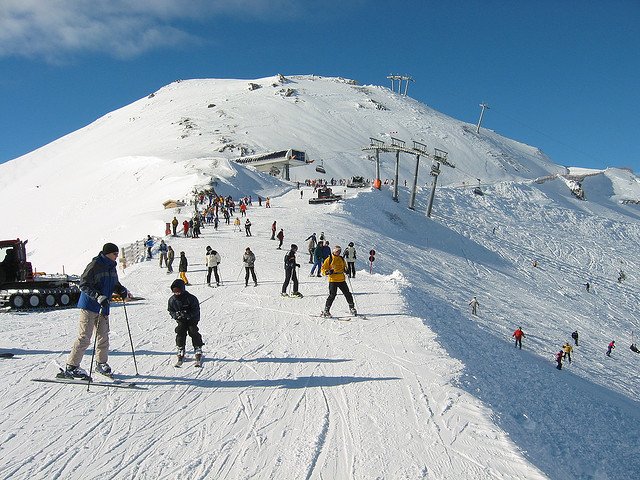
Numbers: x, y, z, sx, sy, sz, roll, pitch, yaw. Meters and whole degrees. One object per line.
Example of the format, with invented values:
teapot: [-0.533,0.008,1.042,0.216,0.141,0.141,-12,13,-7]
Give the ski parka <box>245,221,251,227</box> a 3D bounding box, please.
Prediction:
ski parka: [-4.860,-1.034,32.697,0.551,0.231,0.648,1,-3,-9]

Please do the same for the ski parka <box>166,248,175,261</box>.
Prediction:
ski parka: [-7.489,0.756,24.404,0.314,0.515,0.722,-2,5,-20]

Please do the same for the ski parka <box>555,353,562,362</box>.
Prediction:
ski parka: [10.345,5.104,21.271,0.218,0.440,0.469,3,6,23]

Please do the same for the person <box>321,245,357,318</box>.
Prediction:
person: [0.580,1.322,15.775,1.112,2.344,1.261,1,6,9]

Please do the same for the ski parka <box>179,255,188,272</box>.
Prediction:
ski parka: [-5.879,1.028,20.899,0.298,0.742,0.774,-2,6,-20]

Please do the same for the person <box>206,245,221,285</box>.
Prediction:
person: [-4.567,1.082,20.792,0.485,1.648,0.917,-1,6,-12]

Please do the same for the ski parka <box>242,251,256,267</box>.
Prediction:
ski parka: [-2.949,0.825,20.132,0.760,0.811,0.541,0,-10,-8]

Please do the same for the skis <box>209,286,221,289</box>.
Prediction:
skis: [-4.497,1.986,20.628,0.425,0.035,0.181,1,5,10]

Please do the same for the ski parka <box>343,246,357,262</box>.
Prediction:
ski parka: [1.258,0.643,21.206,0.774,0.732,0.425,9,25,27]

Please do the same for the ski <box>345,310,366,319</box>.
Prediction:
ski: [1.121,2.441,15.910,0.448,0.078,0.080,28,4,15]

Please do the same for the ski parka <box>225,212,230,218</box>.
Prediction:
ski parka: [-7.193,-1.861,37.443,0.296,0.413,0.257,5,9,21]

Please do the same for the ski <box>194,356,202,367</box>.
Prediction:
ski: [-3.113,3.101,12.392,0.173,0.201,0.141,0,5,-1]

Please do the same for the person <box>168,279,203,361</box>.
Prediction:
person: [-3.363,1.992,12.137,0.743,2.161,0.725,0,6,0]

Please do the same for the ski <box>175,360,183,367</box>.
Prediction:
ski: [-3.566,3.119,12.321,0.118,0.035,0.117,-41,20,-22]

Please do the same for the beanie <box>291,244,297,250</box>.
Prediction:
beanie: [-0.978,0.274,17.968,0.238,0.174,0.210,-6,-2,16]

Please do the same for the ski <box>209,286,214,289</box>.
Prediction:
ski: [-4.601,1.989,20.613,0.124,0.030,0.245,-3,5,-32]

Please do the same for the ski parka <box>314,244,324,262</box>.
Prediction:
ski parka: [-0.120,0.551,20.603,0.510,0.899,0.859,0,8,5]

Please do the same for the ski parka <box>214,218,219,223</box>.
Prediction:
ski parka: [-7.561,-1.397,35.378,0.223,0.314,0.665,-1,5,-13]

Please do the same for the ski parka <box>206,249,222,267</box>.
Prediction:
ski parka: [-4.733,0.826,21.559,0.909,0.902,0.424,0,-7,-8]

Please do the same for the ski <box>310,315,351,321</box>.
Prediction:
ski: [0.275,2.512,15.737,1.389,0.040,0.223,2,5,19]

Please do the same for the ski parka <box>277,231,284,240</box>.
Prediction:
ski parka: [-2.324,-0.257,28.495,0.237,0.452,0.482,-1,5,-8]

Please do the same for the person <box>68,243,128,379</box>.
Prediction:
person: [-5.216,1.688,11.345,1.047,3.206,1.028,-5,8,-42]

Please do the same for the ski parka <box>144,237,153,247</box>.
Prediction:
ski parka: [-9.899,0.153,28.541,0.415,0.563,0.220,0,-1,19]
